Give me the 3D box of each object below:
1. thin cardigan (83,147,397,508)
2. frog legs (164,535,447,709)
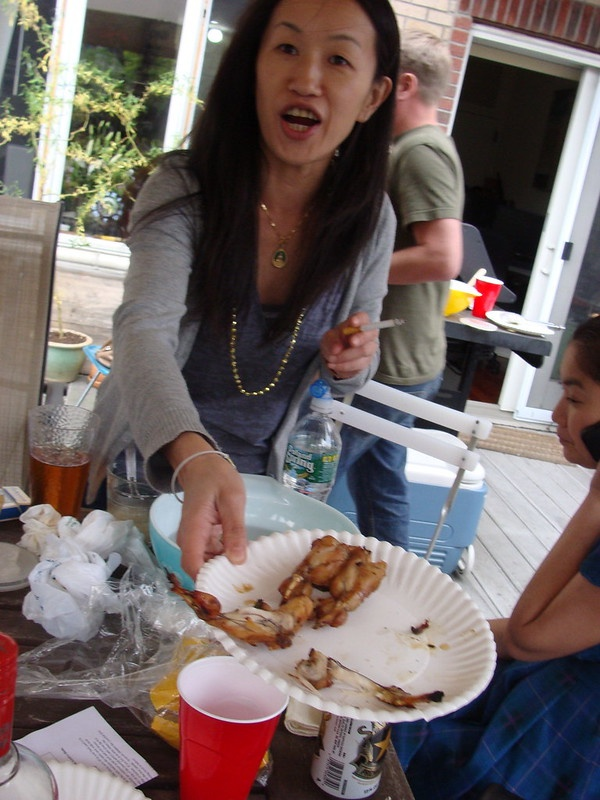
[{"bbox_3d":[-0.115,-0.196,1.032,0.405,0.690,0.236,16,-11,-11],"label":"thin cardigan"},{"bbox_3d":[0.051,0.201,0.603,0.222,0.071,0.277,21,16,29],"label":"frog legs"}]
